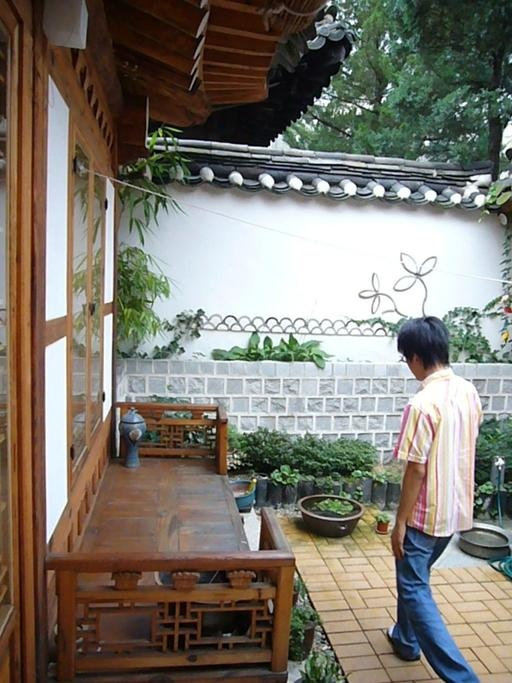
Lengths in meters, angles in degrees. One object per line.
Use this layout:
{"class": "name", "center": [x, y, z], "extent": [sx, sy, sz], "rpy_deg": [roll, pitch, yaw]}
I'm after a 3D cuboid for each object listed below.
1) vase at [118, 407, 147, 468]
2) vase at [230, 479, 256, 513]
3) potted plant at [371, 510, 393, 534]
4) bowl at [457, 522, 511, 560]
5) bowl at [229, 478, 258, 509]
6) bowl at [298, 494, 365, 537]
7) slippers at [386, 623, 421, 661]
{"class": "vase", "center": [-0.920, 0.681, 3.892], "extent": [0.186, 0.387, 0.361], "rpy_deg": [2, 0, -13]}
{"class": "vase", "center": [-0.115, 1.381, 4.780], "extent": [0.223, 0.291, 0.350], "rpy_deg": [2, 0, -3]}
{"class": "potted plant", "center": [1.154, 1.599, 4.720], "extent": [0.172, 0.188, 0.189], "rpy_deg": [0, -3, -4]}
{"class": "bowl", "center": [1.945, 1.652, 4.433], "extent": [0.416, 0.115, 0.431], "rpy_deg": [-2, 14, 1]}
{"class": "bowl", "center": [-0.086, 1.324, 4.811], "extent": [0.304, 0.260, 0.402], "rpy_deg": [1, -6, 16]}
{"class": "bowl", "center": [0.694, 1.553, 4.638], "extent": [0.507, 0.192, 0.505], "rpy_deg": [9, -27, 5]}
{"class": "slippers", "center": [0.805, 1.649, 2.918], "extent": [0.065, 0.089, 0.204], "rpy_deg": [-5, 21, -7]}
